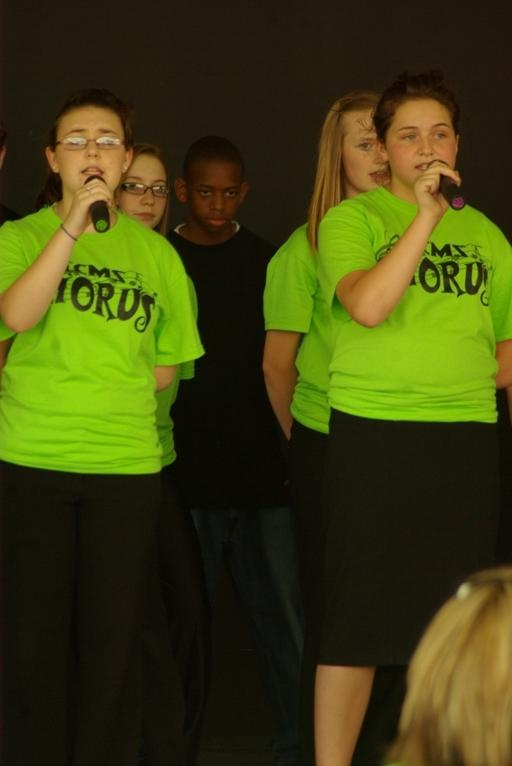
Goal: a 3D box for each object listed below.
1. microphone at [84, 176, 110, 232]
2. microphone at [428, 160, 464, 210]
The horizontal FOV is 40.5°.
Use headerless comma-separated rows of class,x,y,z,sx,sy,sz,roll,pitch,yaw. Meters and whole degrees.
microphone,-0.286,-0.326,1.265,0.044,0.035,0.145,-14,39,-2
microphone,0.362,-0.358,1.305,0.042,0.041,0.135,1,26,-8
